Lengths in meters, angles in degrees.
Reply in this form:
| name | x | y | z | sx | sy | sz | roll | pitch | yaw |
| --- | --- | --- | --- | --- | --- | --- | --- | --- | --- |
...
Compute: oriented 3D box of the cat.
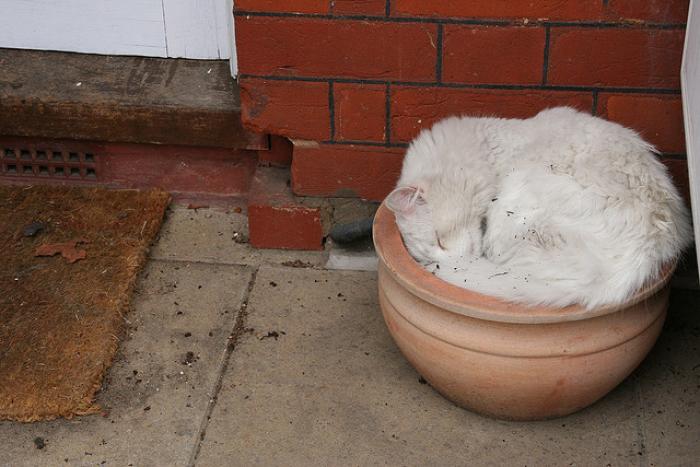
| name | x | y | z | sx | sy | sz | roll | pitch | yaw |
| --- | --- | --- | --- | --- | --- | --- | --- | --- | --- |
| cat | 0.787 | -0.117 | 2.483 | 0.994 | 0.387 | 0.932 | -24 | 49 | 6 |
